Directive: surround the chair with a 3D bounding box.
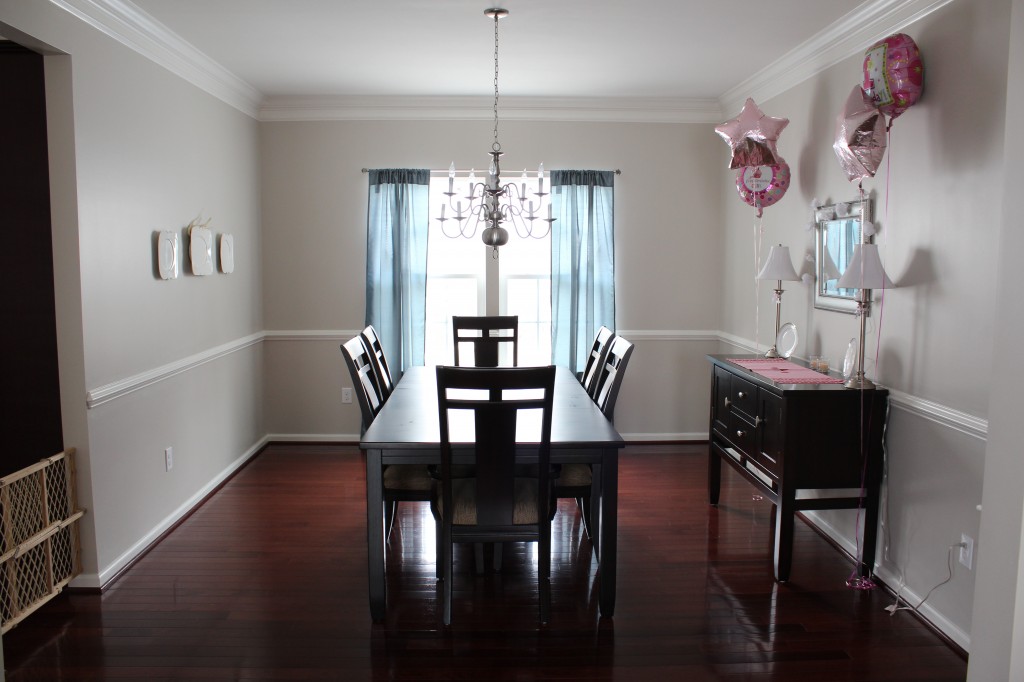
[{"bbox_3d":[-0.142,0.732,4.537,1.828,1.448,1.370,0,7,-1],"label":"chair"}]

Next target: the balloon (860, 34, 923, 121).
[{"bbox_3d":[2.151,-1.487,4.071,0.164,0.448,0.312,-8,21,-20],"label":"balloon"}]

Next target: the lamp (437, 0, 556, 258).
[{"bbox_3d":[-0.141,-1.461,5.626,1.001,1.496,2.219,0,7,1],"label":"lamp"}]

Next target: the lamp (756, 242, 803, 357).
[{"bbox_3d":[1.952,-0.299,5.242,0.290,0.792,0.557,3,8,22],"label":"lamp"}]

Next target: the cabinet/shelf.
[{"bbox_3d":[1.862,0.739,5.020,0.567,1.137,1.487,1,5,-1],"label":"cabinet/shelf"}]

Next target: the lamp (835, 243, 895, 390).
[{"bbox_3d":[2.125,-0.165,4.309,0.268,0.849,0.432,4,8,29],"label":"lamp"}]
